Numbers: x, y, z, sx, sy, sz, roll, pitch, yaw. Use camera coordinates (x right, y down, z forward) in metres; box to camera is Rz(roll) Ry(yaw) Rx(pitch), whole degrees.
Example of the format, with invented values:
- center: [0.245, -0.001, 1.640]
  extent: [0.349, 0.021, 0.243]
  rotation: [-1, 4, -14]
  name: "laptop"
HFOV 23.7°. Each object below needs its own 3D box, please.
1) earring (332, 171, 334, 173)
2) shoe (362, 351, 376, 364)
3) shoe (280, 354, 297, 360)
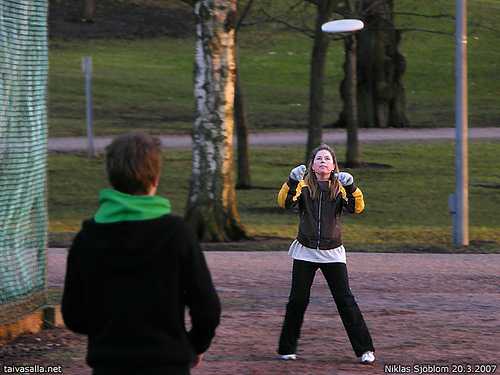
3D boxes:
- center: [1.333, -0.276, 19.236]
  extent: [0.032, 0.026, 0.028]
  rotation: [1, -16, 31]
  name: "earring"
- center: [1.880, 2.707, 18.972]
  extent: [0.200, 0.199, 0.079]
  rotation: [0, 11, 0]
  name: "shoe"
- center: [0.627, 2.714, 19.047]
  extent: [0.232, 0.085, 0.081]
  rotation: [-1, 2, -1]
  name: "shoe"
